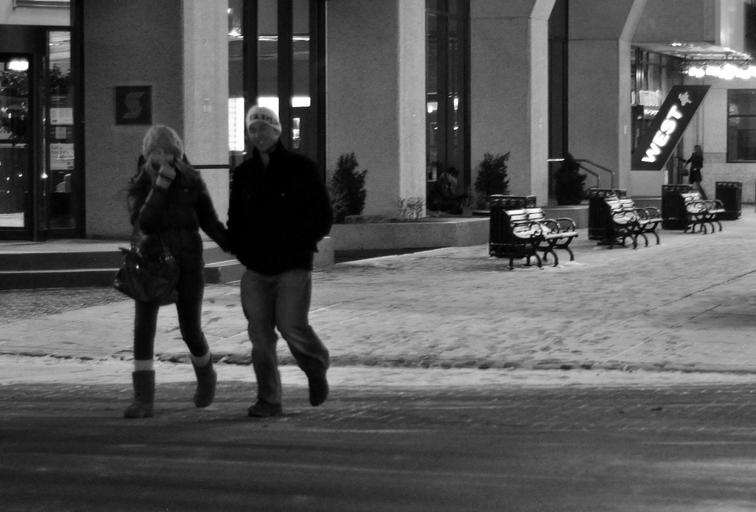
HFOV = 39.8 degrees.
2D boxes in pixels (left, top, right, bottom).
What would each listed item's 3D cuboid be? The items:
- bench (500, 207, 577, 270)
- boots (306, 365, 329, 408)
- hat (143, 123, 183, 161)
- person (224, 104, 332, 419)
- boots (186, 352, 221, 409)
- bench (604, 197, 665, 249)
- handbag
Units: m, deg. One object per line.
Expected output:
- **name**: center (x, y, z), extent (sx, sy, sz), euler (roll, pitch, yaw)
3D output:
- **bench**: center (2.802, -0.360, 19.480), extent (1.493, 1.102, 2.577), euler (-1, 1, 16)
- **boots**: center (-0.477, 1.003, 8.014), extent (0.128, 0.331, 0.156), euler (1, 10, 10)
- **hat**: center (-1.661, -0.876, 8.002), extent (0.292, 0.240, 0.282), euler (-1, 14, -1)
- **person**: center (-0.735, 0.033, 7.874), extent (0.780, 2.348, 0.348), euler (-1, 1, -8)
- **boots**: center (-1.329, 0.968, 8.155), extent (0.206, 0.439, 0.460), euler (-3, -6, 21)
- **bench**: center (5.829, -0.733, 23.996), extent (0.649, 0.763, 1.633), euler (-1, 2, 29)
- **handbag**: center (-1.791, 0.084, 8.019), extent (0.469, 0.573, 0.570), euler (16, -25, -32)
